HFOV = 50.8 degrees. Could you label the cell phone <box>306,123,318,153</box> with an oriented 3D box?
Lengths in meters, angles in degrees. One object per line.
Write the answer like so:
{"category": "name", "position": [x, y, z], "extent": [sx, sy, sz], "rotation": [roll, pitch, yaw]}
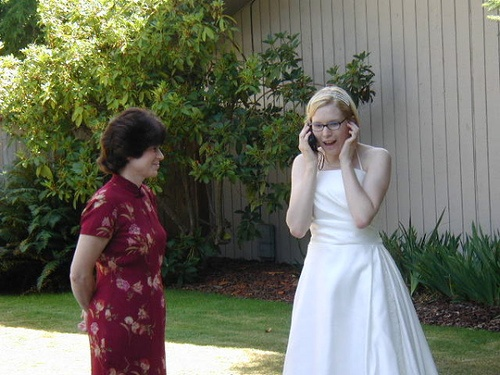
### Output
{"category": "cell phone", "position": [0.486, -0.370, 4.060], "extent": [0.045, 0.188, 0.117], "rotation": [-4, 5, 19]}
